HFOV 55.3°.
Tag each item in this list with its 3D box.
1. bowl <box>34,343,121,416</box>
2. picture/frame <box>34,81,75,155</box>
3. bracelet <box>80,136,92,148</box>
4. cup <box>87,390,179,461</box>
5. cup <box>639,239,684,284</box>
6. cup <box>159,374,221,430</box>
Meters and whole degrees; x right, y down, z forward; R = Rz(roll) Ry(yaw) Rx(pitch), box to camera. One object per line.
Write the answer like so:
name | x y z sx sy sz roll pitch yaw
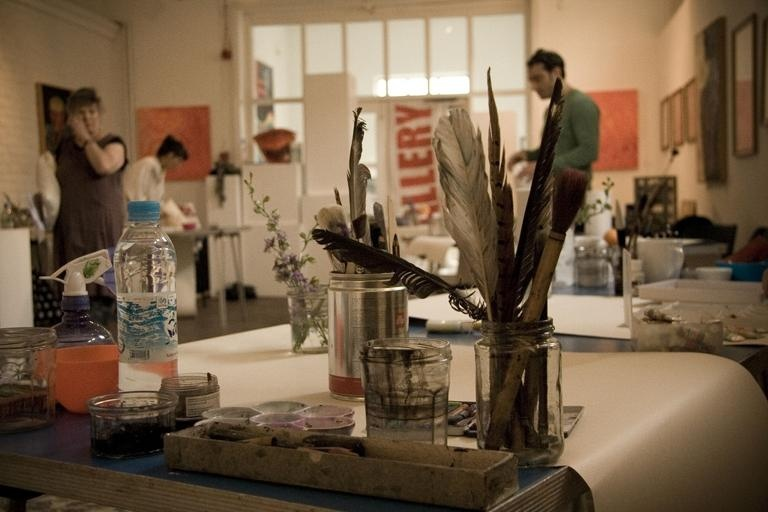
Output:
bowl | -0.394 0.172 0.977 0.092 0.068 0.091 1 -4 0
picture/frame | -0.388 -0.162 0.862 0.036 0.076 0.038 -5 5 -30
bracelet | -0.367 -0.141 0.901 0.014 0.013 0.003 2 2 -6
cup | -0.286 0.188 0.826 0.079 0.048 0.078 1 -4 0
cup | 0.563 0.006 1.499 0.067 0.104 0.104 -3 3 -35
cup | -0.236 0.173 0.892 0.064 0.045 0.064 -1 -4 0
